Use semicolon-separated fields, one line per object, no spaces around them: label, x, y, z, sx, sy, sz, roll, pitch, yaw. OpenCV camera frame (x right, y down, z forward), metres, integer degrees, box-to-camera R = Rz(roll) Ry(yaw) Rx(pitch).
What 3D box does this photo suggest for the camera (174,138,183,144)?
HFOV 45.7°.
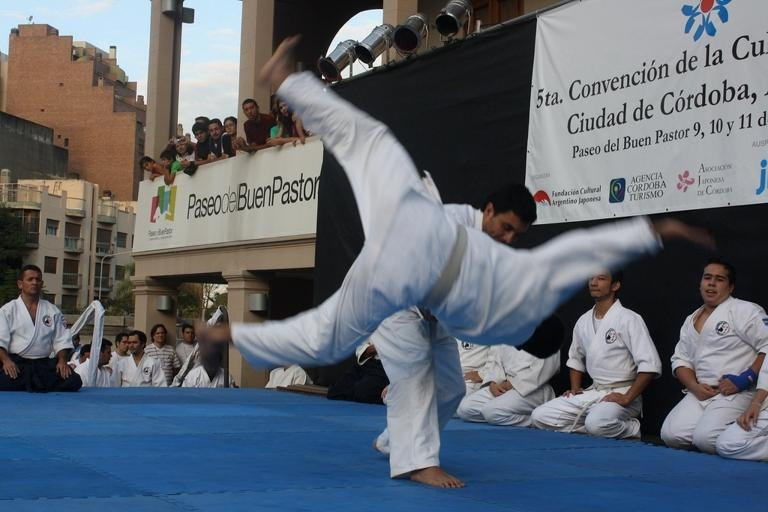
camera;-3.646;-2.036;16.288;0.125;0.061;0.175;3;5;-9
